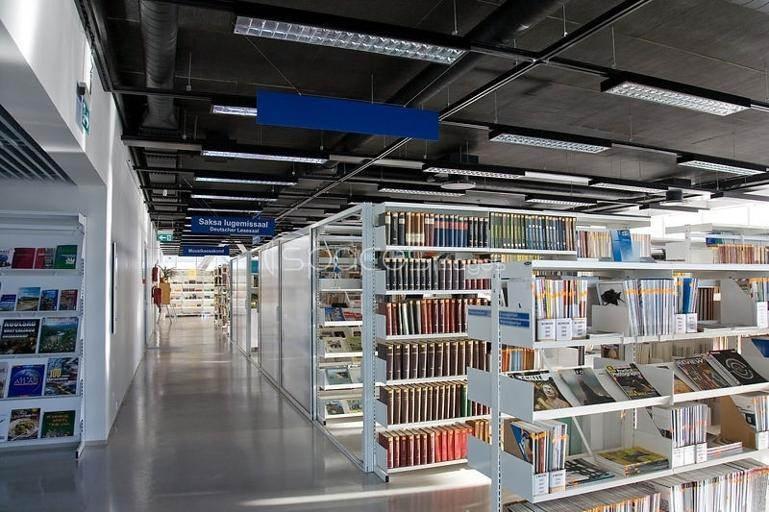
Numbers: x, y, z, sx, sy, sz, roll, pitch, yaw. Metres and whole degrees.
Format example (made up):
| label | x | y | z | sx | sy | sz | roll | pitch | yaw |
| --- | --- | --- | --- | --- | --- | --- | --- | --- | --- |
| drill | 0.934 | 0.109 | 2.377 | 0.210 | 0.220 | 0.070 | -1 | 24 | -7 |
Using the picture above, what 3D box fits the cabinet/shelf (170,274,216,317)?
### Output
| label | x | y | z | sx | sy | sz | roll | pitch | yaw |
| --- | --- | --- | --- | --- | --- | --- | --- | --- | --- |
| cabinet/shelf | -11.494 | 2.481 | 34.109 | 3.434 | 2.778 | 1.113 | 1 | 0 | -7 |
